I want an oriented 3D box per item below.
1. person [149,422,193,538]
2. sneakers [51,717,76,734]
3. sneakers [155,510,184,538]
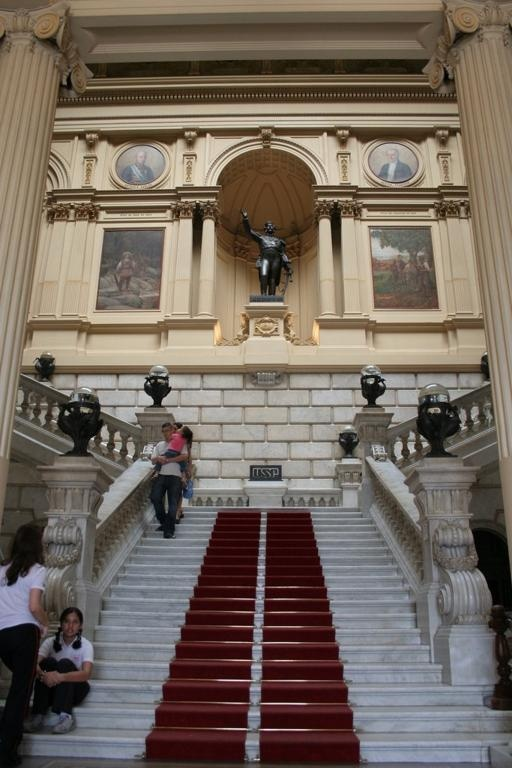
[{"bbox_3d":[-0.997,1.109,6.868,0.418,1.317,0.674,3,-12,-9],"label":"person"},{"bbox_3d":[-1.047,1.854,3.239,0.064,0.076,0.171,-2,-19,1],"label":"sneakers"},{"bbox_3d":[-1.081,1.711,7.367,0.137,0.179,0.451,9,3,0],"label":"sneakers"}]
